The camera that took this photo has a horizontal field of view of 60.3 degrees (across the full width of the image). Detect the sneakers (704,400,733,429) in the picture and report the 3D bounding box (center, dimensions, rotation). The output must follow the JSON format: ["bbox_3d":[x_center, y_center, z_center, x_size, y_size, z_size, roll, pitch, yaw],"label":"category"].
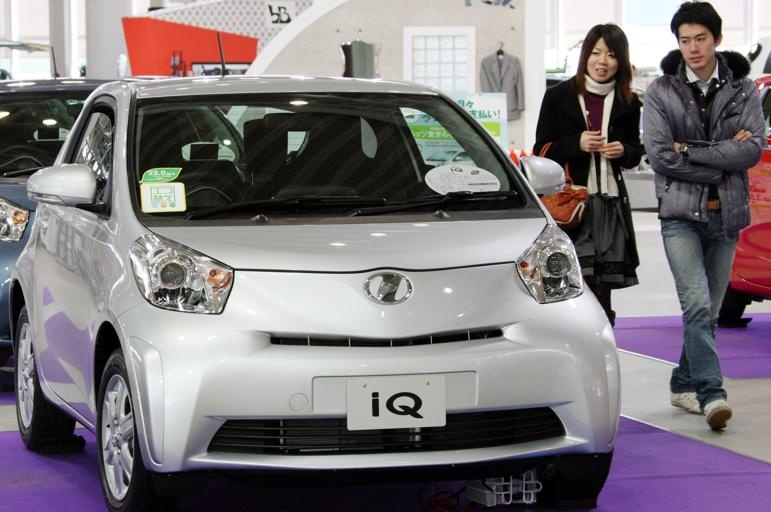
[{"bbox_3d":[1.923,0.900,3.798,0.100,0.109,0.234,-36,-20,-12],"label":"sneakers"}]

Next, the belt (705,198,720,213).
[{"bbox_3d":[1.960,-0.298,3.963,0.074,0.076,0.025,1,-2,-1],"label":"belt"}]

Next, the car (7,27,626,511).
[{"bbox_3d":[-0.504,0.134,3.379,1.777,1.303,2.596,1,-1,-18],"label":"car"}]

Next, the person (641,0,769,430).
[{"bbox_3d":[1.900,-0.257,3.950,0.682,2.513,0.440,1,4,17],"label":"person"}]

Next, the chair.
[{"bbox_3d":[-0.435,-0.452,3.191,0.911,0.262,0.572,0,12,-11],"label":"chair"}]

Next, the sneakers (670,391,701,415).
[{"bbox_3d":[1.905,0.933,4.198,0.070,0.085,0.194,0,-1,-21],"label":"sneakers"}]

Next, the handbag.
[{"bbox_3d":[1.103,-0.368,4.094,0.345,0.446,0.237,-12,12,-25],"label":"handbag"}]
